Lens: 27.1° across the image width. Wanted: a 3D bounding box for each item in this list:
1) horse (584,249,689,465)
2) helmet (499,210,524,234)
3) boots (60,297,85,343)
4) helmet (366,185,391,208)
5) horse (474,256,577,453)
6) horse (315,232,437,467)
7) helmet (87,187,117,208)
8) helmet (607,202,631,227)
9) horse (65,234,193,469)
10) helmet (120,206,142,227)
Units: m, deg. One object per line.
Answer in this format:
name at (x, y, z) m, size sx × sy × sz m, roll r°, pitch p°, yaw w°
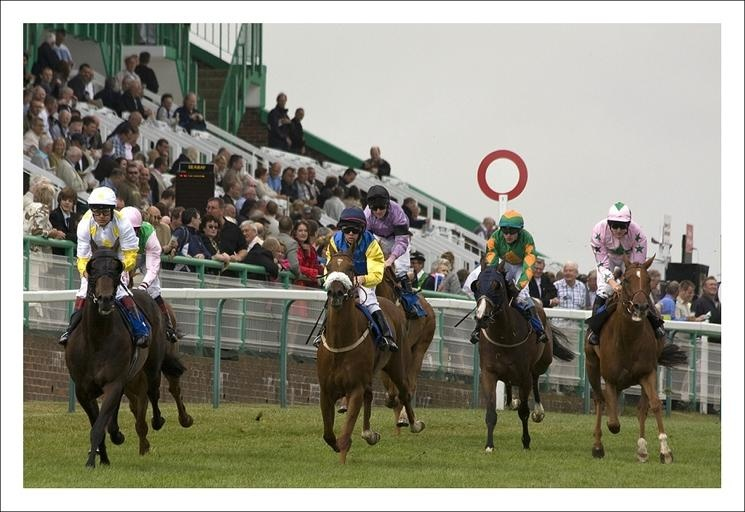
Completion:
horse at (3.455, 1.357, 20.688) m, size 1.198 × 2.631 × 1.696 m, roll 2°, pitch -4°, yaw 9°
helmet at (1.942, -0.507, 21.489) m, size 0.340 × 0.323 × 0.517 m, roll 3°, pitch -4°, yaw 3°
boots at (-3.920, 0.797, 20.156) m, size 0.256 × 0.552 × 0.123 m, roll -7°, pitch -27°, yaw 31°
helmet at (0.109, -0.841, 21.191) m, size 0.221 × 0.350 × 0.128 m, roll -2°, pitch 3°, yaw 13°
horse at (1.989, 1.387, 21.462) m, size 0.910 × 2.508 × 2.796 m, roll 2°, pitch -4°, yaw 14°
horse at (-0.139, 1.270, 19.667) m, size 0.703 × 2.599 × 2.053 m, roll 1°, pitch -4°, yaw 22°
helmet at (-3.398, -0.757, 19.496) m, size 0.225 × 0.246 × 0.303 m, roll 2°, pitch 16°, yaw -4°
helmet at (3.356, -0.589, 20.838) m, size 0.318 × 0.338 × 0.296 m, roll 2°, pitch -4°, yaw 7°
horse at (-3.180, 1.278, 19.736) m, size 0.839 × 2.662 × 2.230 m, roll 2°, pitch -4°, yaw 13°
helmet at (-3.146, -0.528, 20.148) m, size 0.270 × 0.183 × 0.202 m, roll 18°, pitch 27°, yaw 35°
